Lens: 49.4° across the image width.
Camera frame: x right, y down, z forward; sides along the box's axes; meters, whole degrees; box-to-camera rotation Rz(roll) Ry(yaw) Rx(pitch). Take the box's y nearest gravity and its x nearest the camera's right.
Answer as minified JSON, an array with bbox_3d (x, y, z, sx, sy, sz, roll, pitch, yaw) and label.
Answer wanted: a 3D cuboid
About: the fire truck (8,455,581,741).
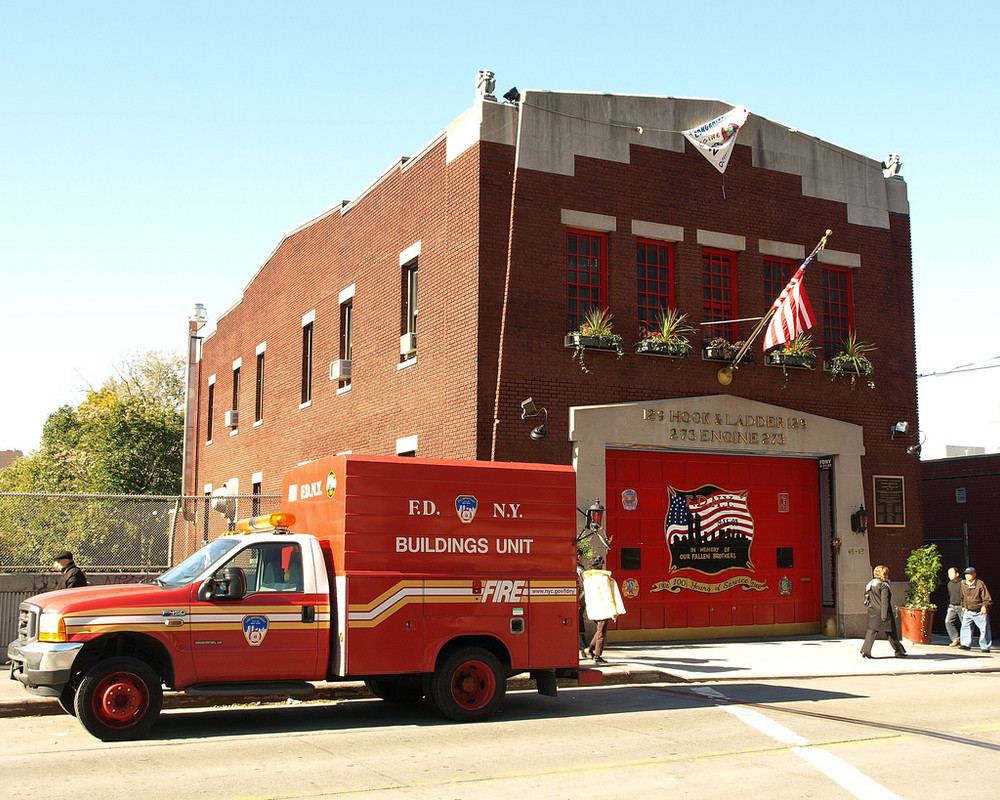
[{"bbox_3d":[-2.782,2.893,15.295,7.206,3.724,2.704,1,-7,-13],"label":"fire truck"}]

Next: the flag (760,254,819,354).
[{"bbox_3d":[6.372,-1.975,23.606,0.959,2.257,1.029,3,-3,-24],"label":"flag"}]

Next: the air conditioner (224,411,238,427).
[{"bbox_3d":[-9.306,0.656,37.769,0.234,0.436,0.441,5,-16,-25],"label":"air conditioner"}]

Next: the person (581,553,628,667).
[{"bbox_3d":[1.894,3.759,19.553,0.659,1.866,0.766,4,-2,-21],"label":"person"}]

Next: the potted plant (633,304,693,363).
[{"bbox_3d":[3.616,-1.441,23.860,1.126,0.829,1.114,5,-3,-41],"label":"potted plant"}]

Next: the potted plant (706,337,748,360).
[{"bbox_3d":[5.032,-1.126,24.540,1.014,0.557,0.399,2,0,-34],"label":"potted plant"}]

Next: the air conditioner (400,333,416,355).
[{"bbox_3d":[-2.024,-1.202,24.663,0.415,0.436,0.426,-13,-19,41],"label":"air conditioner"}]

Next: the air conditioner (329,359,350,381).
[{"bbox_3d":[-4.070,-0.592,27.795,0.422,0.564,0.747,8,-17,-24],"label":"air conditioner"}]

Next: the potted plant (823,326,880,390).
[{"bbox_3d":[8.499,-1.007,26.321,1.236,1.219,1.280,0,-9,23],"label":"potted plant"}]

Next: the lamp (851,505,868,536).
[{"bbox_3d":[8.320,2.765,25.242,0.349,0.670,0.240,2,0,1],"label":"lamp"}]
